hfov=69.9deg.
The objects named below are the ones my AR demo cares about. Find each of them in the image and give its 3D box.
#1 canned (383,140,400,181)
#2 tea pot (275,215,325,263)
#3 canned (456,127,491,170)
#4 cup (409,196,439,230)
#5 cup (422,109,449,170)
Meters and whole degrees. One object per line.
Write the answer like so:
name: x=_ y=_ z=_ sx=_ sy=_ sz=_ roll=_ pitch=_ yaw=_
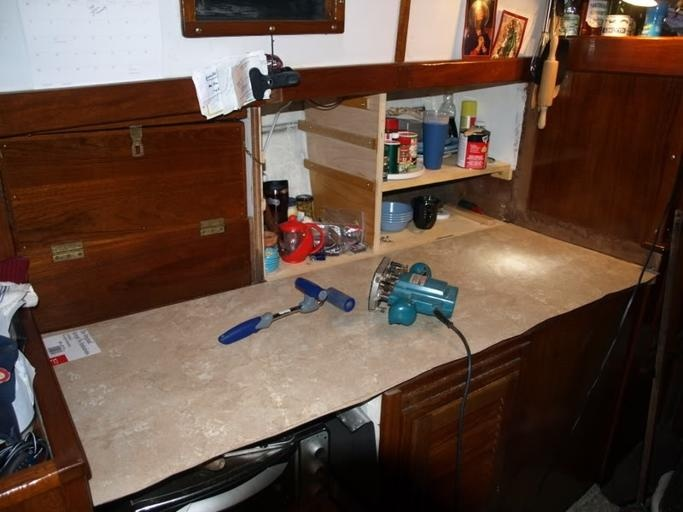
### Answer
canned: x=0.190 y=-0.357 z=1.805 sx=0.060 sy=0.134 sz=0.039 roll=-4 pitch=26 yaw=-7
tea pot: x=-0.136 y=-0.061 z=1.771 sx=0.177 sy=0.169 sz=0.132 roll=2 pitch=29 yaw=0
canned: x=0.535 y=-0.432 z=1.971 sx=0.121 sy=0.201 sz=0.109 roll=-12 pitch=40 yaw=-11
cup: x=0.347 y=-0.177 z=2.038 sx=0.102 sy=0.141 sz=0.072 roll=-18 pitch=28 yaw=-34
cup: x=0.381 y=-0.470 z=2.000 sx=0.092 sy=0.192 sz=0.184 roll=3 pitch=26 yaw=8
